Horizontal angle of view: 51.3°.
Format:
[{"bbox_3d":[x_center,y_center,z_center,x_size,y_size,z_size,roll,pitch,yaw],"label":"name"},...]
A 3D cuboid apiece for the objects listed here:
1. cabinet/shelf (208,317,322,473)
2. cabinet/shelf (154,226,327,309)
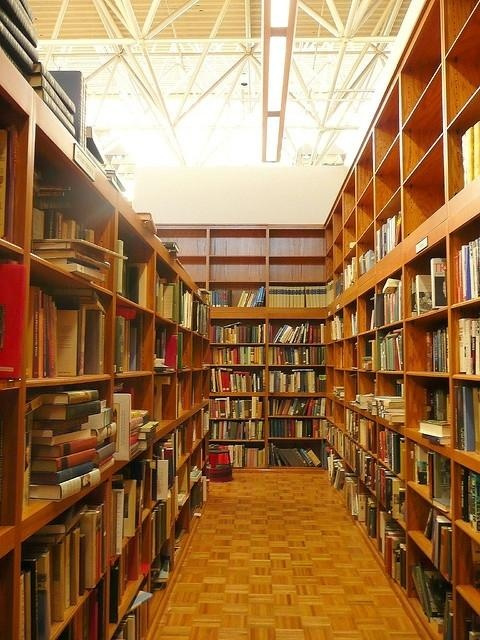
[{"bbox_3d":[0.302,0.978,6.197,1.449,2.183,0.486,0,-1,-1],"label":"cabinet/shelf"},{"bbox_3d":[-0.033,-0.531,6.582,2.244,1.470,0.335,2,-7,18],"label":"cabinet/shelf"}]
